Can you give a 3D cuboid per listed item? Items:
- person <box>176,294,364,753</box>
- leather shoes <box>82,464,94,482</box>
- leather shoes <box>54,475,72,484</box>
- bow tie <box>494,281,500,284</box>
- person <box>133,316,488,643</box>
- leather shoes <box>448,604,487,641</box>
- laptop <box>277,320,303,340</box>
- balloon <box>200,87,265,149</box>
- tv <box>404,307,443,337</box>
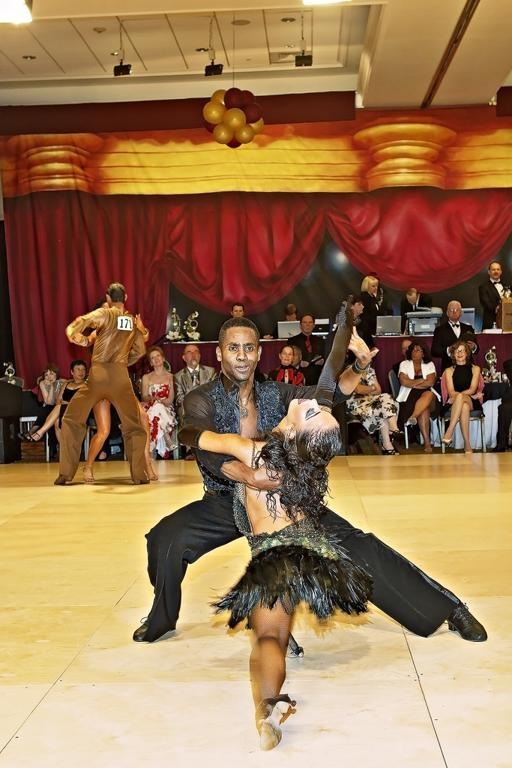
[{"bbox_3d":[0.027,0.404,1.450,0.443,0.734,0.682,-3,-6,16],"label":"person"},{"bbox_3d":[-1.938,1.039,6.659,0.119,0.218,0.222,0,-6,-17],"label":"leather shoes"},{"bbox_3d":[-2.191,1.101,6.582,0.206,0.099,0.254,-7,-7,44],"label":"leather shoes"},{"bbox_3d":[4.137,-1.723,9.814,0.070,0.050,0.012,0,-6,3],"label":"bow tie"},{"bbox_3d":[0.121,0.335,1.963,1.234,1.228,0.765,-6,6,4],"label":"person"},{"bbox_3d":[0.744,0.844,2.064,0.074,0.090,0.193,-11,-4,-16],"label":"leather shoes"},{"bbox_3d":[0.553,-0.838,9.611,0.436,0.305,0.296,0,-3,3],"label":"laptop"},{"bbox_3d":[-0.376,-4.221,9.185,0.905,0.780,0.781,-3,-5,11],"label":"balloon"},{"bbox_3d":[2.733,-1.017,9.366,0.702,0.472,0.459,0,11,5],"label":"tv"}]
